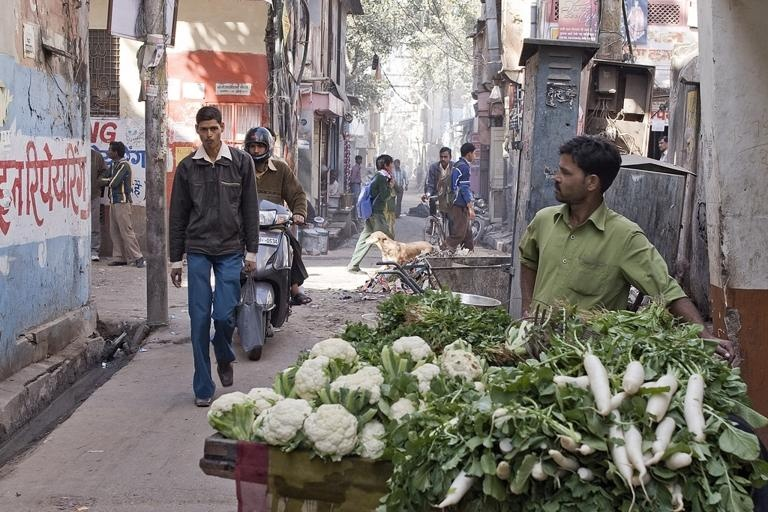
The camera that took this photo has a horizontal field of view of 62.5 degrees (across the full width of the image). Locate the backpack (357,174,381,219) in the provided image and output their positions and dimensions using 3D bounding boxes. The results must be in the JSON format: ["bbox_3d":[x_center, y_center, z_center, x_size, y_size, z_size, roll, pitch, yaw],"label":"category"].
[{"bbox_3d":[-0.249,-1.140,12.821,0.736,0.768,0.478,-2,7,3],"label":"backpack"}]

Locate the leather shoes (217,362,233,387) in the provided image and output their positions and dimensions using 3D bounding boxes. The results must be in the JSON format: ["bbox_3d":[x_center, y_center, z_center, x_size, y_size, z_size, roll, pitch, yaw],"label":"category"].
[{"bbox_3d":[-1.533,1.128,6.102,0.097,0.320,0.131,-12,-2,4],"label":"leather shoes"}]

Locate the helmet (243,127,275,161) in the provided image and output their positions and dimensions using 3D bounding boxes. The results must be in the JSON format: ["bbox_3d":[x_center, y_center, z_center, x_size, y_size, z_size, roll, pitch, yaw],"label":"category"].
[{"bbox_3d":[-1.394,-1.291,7.286,0.324,0.376,0.409,1,9,1],"label":"helmet"}]

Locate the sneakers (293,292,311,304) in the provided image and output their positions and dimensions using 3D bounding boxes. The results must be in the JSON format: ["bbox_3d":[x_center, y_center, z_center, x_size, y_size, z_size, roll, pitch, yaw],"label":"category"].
[{"bbox_3d":[-1.098,0.542,8.231,0.283,0.124,0.107,1,27,29],"label":"sneakers"}]

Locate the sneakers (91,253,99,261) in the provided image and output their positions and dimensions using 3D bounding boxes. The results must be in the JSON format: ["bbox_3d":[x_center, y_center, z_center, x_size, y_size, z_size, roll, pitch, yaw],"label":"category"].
[{"bbox_3d":[-5.834,-0.003,12.804,0.123,0.170,0.379,1,3,-24],"label":"sneakers"}]

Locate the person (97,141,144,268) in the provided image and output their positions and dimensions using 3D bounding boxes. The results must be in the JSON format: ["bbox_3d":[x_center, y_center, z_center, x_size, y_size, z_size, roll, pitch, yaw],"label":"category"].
[{"bbox_3d":[-5.182,-1.041,12.502,0.663,2.399,1.043,-4,10,-25],"label":"person"}]

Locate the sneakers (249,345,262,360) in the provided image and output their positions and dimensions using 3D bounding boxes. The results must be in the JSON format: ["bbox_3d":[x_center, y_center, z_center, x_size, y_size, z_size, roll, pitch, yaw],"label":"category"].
[{"bbox_3d":[-1.408,1.059,6.933,0.138,0.198,0.183,2,2,-3],"label":"sneakers"}]

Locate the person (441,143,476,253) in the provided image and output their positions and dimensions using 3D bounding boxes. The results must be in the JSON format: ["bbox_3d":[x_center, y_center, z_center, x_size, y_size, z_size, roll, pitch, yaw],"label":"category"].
[{"bbox_3d":[1.685,-1.289,13.929,0.582,2.327,1.295,1,9,8],"label":"person"}]

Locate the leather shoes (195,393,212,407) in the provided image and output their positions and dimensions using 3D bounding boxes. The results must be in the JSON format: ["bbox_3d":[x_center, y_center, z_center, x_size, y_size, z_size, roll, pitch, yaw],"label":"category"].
[{"bbox_3d":[-1.643,1.305,5.749,0.078,0.103,0.228,1,-9,-8],"label":"leather shoes"}]

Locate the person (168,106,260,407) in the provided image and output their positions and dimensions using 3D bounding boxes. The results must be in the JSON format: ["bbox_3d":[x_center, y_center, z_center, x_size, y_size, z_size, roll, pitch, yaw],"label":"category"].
[{"bbox_3d":[-1.521,0.006,5.753,0.799,2.673,0.491,-3,9,-19],"label":"person"}]
